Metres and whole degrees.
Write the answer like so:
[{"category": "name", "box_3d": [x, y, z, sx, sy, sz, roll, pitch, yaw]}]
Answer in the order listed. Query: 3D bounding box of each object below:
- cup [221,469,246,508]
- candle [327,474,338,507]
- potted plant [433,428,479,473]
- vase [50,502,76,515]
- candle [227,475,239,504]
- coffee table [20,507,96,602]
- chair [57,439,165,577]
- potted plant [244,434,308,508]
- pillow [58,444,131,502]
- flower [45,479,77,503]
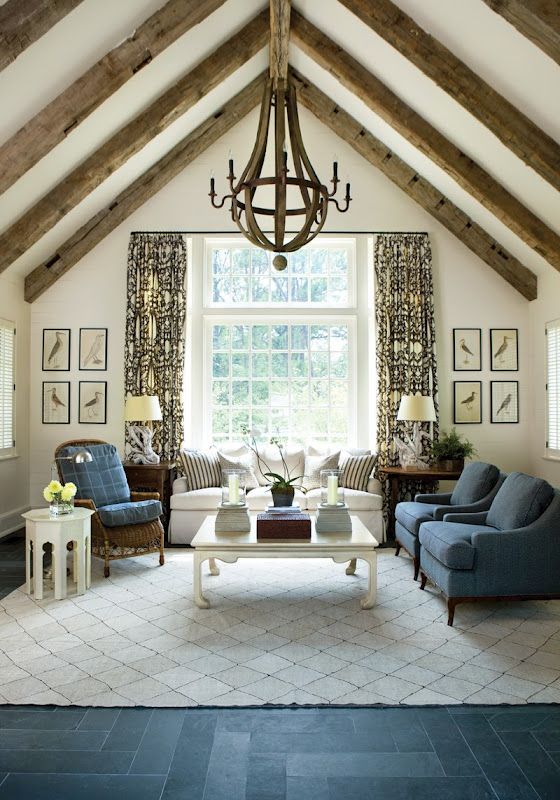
[{"category": "cup", "box_3d": [-0.287, 0.561, 4.204, 0.235, 0.296, 0.207, 0, -3, 0]}, {"category": "candle", "box_3d": [0.335, 0.573, 4.206, 0.065, 0.189, 0.169, 0, 1, 5]}, {"category": "potted plant", "box_3d": [1.641, 0.466, 6.190, 0.380, 0.372, 0.398, 0, -1, 13]}, {"category": "vase", "box_3d": [-1.391, 0.695, 4.217, 0.132, 0.079, 0.074, 5, -9, -41]}, {"category": "candle", "box_3d": [-0.291, 0.568, 4.173, 0.075, 0.195, 0.096, 0, 1, -5]}, {"category": "coffee table", "box_3d": [-1.437, 0.970, 4.359, 0.523, 0.552, 0.522, -1, 0, 24]}, {"category": "chair", "box_3d": [-1.344, 0.769, 4.963, 1.071, 1.054, 0.701, -1, -2, 43]}, {"category": "potted plant", "box_3d": [-0.006, 0.605, 5.856, 0.568, 0.615, 0.478, 0, -6, -8]}, {"category": "pillow", "box_3d": [-1.419, 0.603, 5.071, 0.150, 0.481, 0.496, -40, -24, 31]}, {"category": "flower", "box_3d": [-1.406, 0.602, 4.233, 0.210, 0.191, 0.204, 5, -14, -20]}]
